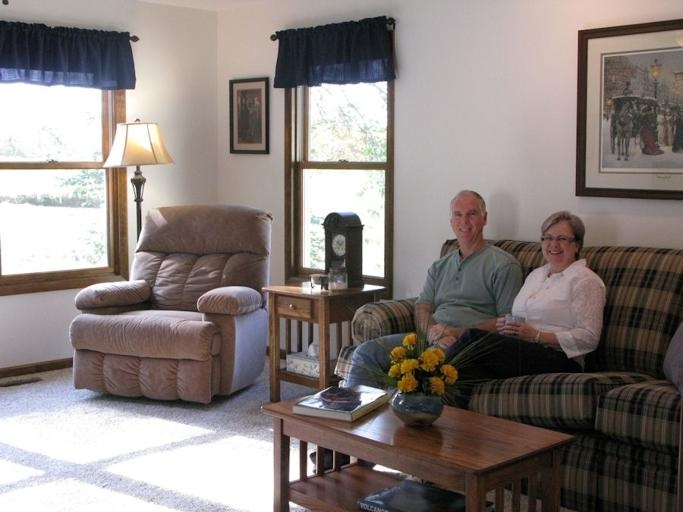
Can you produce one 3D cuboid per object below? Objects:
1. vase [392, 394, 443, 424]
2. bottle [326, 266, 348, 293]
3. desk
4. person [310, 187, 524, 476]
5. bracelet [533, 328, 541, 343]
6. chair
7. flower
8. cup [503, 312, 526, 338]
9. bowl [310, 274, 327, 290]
[{"bbox_3d":[0.273,0.531,2.173,0.131,0.075,0.126,-1,7,-17],"label":"vase"},{"bbox_3d":[-0.029,0.155,3.983,0.137,0.201,0.143,1,2,0],"label":"bottle"},{"bbox_3d":[-0.254,0.572,4.246,0.800,0.986,0.806,-2,3,-39],"label":"desk"},{"bbox_3d":[0.427,0.391,3.264,1.129,1.517,0.648,4,-1,-35],"label":"person"},{"bbox_3d":[0.951,0.393,2.895,0.031,0.050,0.051,6,-18,25],"label":"bracelet"},{"bbox_3d":[-1.243,0.300,4.378,1.228,1.259,1.190,1,5,9],"label":"chair"},{"bbox_3d":[0.382,0.428,2.367,0.453,0.354,0.438,3,2,3],"label":"flower"},{"bbox_3d":[0.812,0.333,2.842,0.102,0.103,0.045,-9,-14,43],"label":"cup"},{"bbox_3d":[-0.154,0.176,4.056,0.084,0.080,0.106,0,7,-6],"label":"bowl"}]
